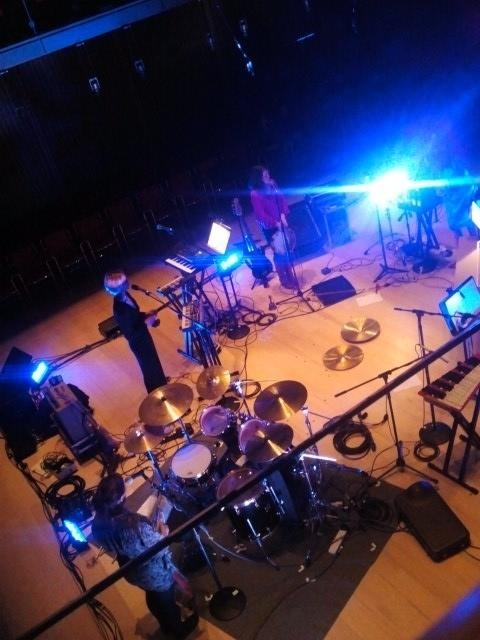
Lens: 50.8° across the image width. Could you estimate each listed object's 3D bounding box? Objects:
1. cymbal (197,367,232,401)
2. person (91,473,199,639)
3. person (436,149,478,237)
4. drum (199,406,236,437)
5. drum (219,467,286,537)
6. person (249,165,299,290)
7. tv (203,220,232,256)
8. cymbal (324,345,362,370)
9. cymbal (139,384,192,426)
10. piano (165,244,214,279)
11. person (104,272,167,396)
[{"bbox_3d":[-0.301,0.700,5.740,0.363,0.304,0.505,-22,9,-2],"label":"cymbal"},{"bbox_3d":[-0.788,2.034,4.195,0.451,1.409,0.802,-24,10,-11],"label":"person"},{"bbox_3d":[3.446,-1.838,7.902,0.517,1.310,0.805,-18,10,20],"label":"person"},{"bbox_3d":[-0.267,1.094,5.433,0.328,0.298,0.246,-24,-18,5],"label":"drum"},{"bbox_3d":[0.111,1.701,4.632,0.490,0.569,0.465,-23,10,-8],"label":"drum"},{"bbox_3d":[0.616,-1.394,8.113,0.503,1.477,0.858,-21,10,6],"label":"person"},{"bbox_3d":[-0.311,-1.205,7.508,0.115,0.470,0.464,1,17,-39],"label":"tv"},{"bbox_3d":[1.364,0.495,6.715,0.508,0.211,0.390,-21,9,8],"label":"cymbal"},{"bbox_3d":[-0.750,0.857,5.153,0.474,0.115,0.468,-25,53,-5],"label":"cymbal"},{"bbox_3d":[-0.713,-0.930,7.617,0.524,0.248,0.754,-40,42,-22],"label":"piano"},{"bbox_3d":[-1.579,0.290,7.559,0.622,2.093,0.561,-20,54,-5],"label":"person"}]
